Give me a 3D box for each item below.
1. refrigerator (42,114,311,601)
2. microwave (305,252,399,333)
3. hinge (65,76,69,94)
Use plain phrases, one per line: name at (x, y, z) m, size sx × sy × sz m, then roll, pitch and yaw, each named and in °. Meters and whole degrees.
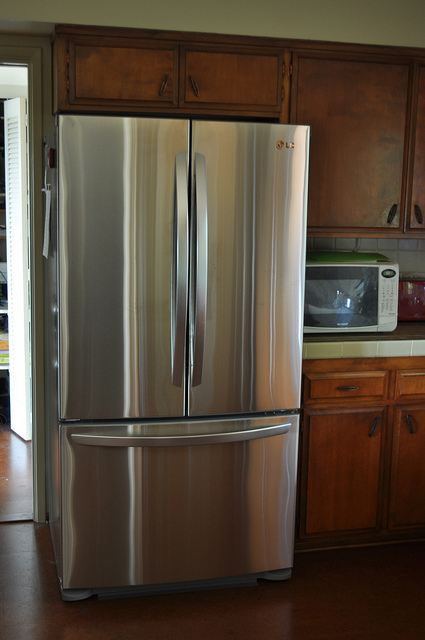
refrigerator at (-0.116, 0.143, 2.160) m, size 0.818 × 1.562 × 0.690 m, roll -1°, pitch 6°, yaw -11°
microwave at (0.561, -0.063, 2.347) m, size 0.421 × 0.300 × 0.297 m, roll -1°, pitch 6°, yaw -12°
hinge at (-0.493, -0.804, 1.938) m, size 0.012 × 0.048 × 0.007 m, roll 0°, pitch 6°, yaw -15°
